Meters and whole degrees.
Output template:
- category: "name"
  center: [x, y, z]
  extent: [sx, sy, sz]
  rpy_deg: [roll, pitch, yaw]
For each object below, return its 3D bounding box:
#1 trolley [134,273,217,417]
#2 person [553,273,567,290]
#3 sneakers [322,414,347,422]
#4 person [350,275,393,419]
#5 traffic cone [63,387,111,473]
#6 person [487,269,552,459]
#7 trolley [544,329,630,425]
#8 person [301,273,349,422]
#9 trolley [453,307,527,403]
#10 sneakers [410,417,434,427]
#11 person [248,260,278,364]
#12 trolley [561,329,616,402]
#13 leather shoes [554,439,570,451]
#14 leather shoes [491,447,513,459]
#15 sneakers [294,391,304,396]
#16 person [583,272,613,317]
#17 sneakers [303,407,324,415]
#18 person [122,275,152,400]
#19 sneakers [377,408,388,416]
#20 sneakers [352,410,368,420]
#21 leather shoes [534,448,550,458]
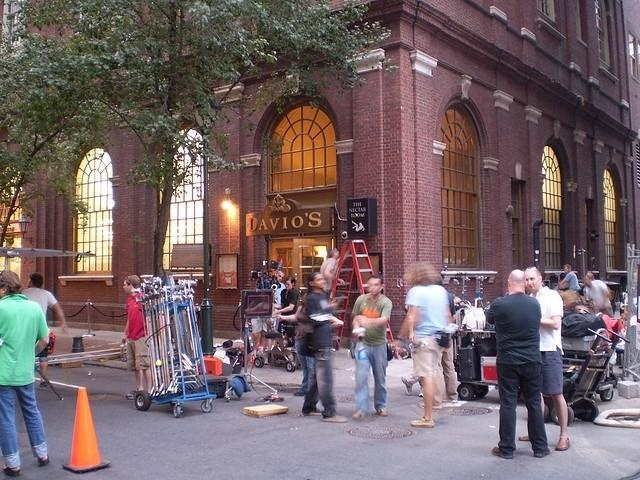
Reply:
- category: "trolley"
  center: [-2.681, 1.961, 12.270]
  extent: [1.186, 2.368, 1.049]
  rpy_deg: [0, 8, 24]
- category: "person"
  center: [8.416, 1.467, 23.176]
  extent: [0.238, 0.758, 0.803]
  rpy_deg: [17, -4, 8]
- category: "sneakers"
  center: [0.248, 3.015, 11.078]
  extent: [0.341, 0.156, 0.151]
  rpy_deg: [-4, -7, 2]
- category: "person"
  center: [0.903, 1.844, 11.473]
  extent: [0.720, 2.425, 0.997]
  rpy_deg: [-2, -6, 4]
- category: "traffic cone"
  center: [-3.322, 2.631, 9.323]
  extent: [0.587, 1.116, 0.916]
  rpy_deg: [0, -7, -22]
- category: "person"
  center: [2.791, 1.925, 9.320]
  extent: [0.727, 2.283, 0.345]
  rpy_deg: [-4, -6, 14]
- category: "trolley"
  center: [4.344, 2.332, 11.470]
  extent: [1.730, 1.575, 1.112]
  rpy_deg: [8, 1, 42]
- category: "person"
  center: [0.005, 1.853, 11.510]
  extent: [0.678, 2.515, 0.816]
  rpy_deg: [-2, -6, -3]
- category: "trolley"
  center: [2.939, 2.304, 13.256]
  extent: [1.183, 1.799, 1.329]
  rpy_deg: [-5, -12, 33]
- category: "sneakers"
  center: [1.651, 2.940, 10.687]
  extent: [0.340, 0.144, 0.149]
  rpy_deg: [0, -4, 19]
- category: "person"
  center: [-1.420, 1.801, 17.137]
  extent: [0.753, 2.350, 0.705]
  rpy_deg: [6, 3, 9]
- category: "trolley"
  center: [4.553, 2.212, 11.645]
  extent: [1.129, 1.175, 0.831]
  rpy_deg: [-2, -7, 45]
- category: "leather shoes"
  center: [3.547, 2.978, 9.656]
  extent: [0.186, 0.168, 0.373]
  rpy_deg: [-5, -7, 27]
- category: "leather shoes"
  center: [2.557, 2.994, 9.313]
  extent: [0.115, 0.116, 0.259]
  rpy_deg: [0, 1, -18]
- category: "sneakers"
  center: [-0.414, 3.073, 13.176]
  extent: [0.215, 0.099, 0.084]
  rpy_deg: [0, -8, 18]
- category: "person"
  center: [7.904, 1.554, 18.766]
  extent: [0.637, 1.162, 0.608]
  rpy_deg: [-4, -6, 21]
- category: "sneakers"
  center: [-0.143, 3.038, 11.595]
  extent: [0.277, 0.126, 0.131]
  rpy_deg: [-2, -4, -6]
- category: "person"
  center: [-3.596, 1.996, 12.968]
  extent: [0.605, 2.935, 1.056]
  rpy_deg: [2, -34, -20]
- category: "sneakers"
  center: [1.074, 2.999, 11.471]
  extent: [0.197, 0.134, 0.244]
  rpy_deg: [-3, -6, 4]
- category: "sneakers"
  center: [0.662, 2.921, 10.965]
  extent: [0.122, 0.166, 0.241]
  rpy_deg: [-17, -30, 39]
- category: "leather shoes"
  center: [3.113, 2.990, 9.268]
  extent: [0.096, 0.096, 0.217]
  rpy_deg: [-1, -2, 35]
